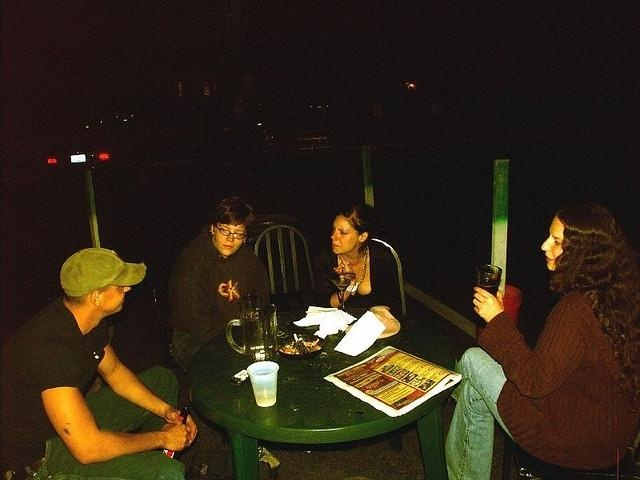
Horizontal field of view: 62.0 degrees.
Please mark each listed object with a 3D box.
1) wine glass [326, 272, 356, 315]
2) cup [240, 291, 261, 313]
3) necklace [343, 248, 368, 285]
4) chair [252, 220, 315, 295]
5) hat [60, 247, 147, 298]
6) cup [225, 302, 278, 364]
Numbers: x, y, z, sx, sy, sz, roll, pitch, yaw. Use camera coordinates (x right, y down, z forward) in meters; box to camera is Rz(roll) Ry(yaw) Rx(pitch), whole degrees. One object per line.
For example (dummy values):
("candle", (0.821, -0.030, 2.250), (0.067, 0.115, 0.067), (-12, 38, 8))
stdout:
("wine glass", (0.163, 0.376, 3.919), (0.244, 0.306, 0.260), (1, 1, 1))
("cup", (-0.449, 0.397, 3.462), (0.120, 0.121, 0.109), (1, 6, 0))
("necklace", (0.323, 0.204, 4.515), (0.183, 0.306, 0.054), (7, 24, 37))
("chair", (-0.244, 0.158, 5.450), (0.606, 0.956, 0.672), (-3, 3, -21))
("hat", (-1.401, 0.159, 3.439), (0.521, 0.267, 0.351), (-9, 31, -24))
("cup", (-0.451, 0.627, 3.480), (0.334, 0.329, 0.207), (-4, 8, 5))
